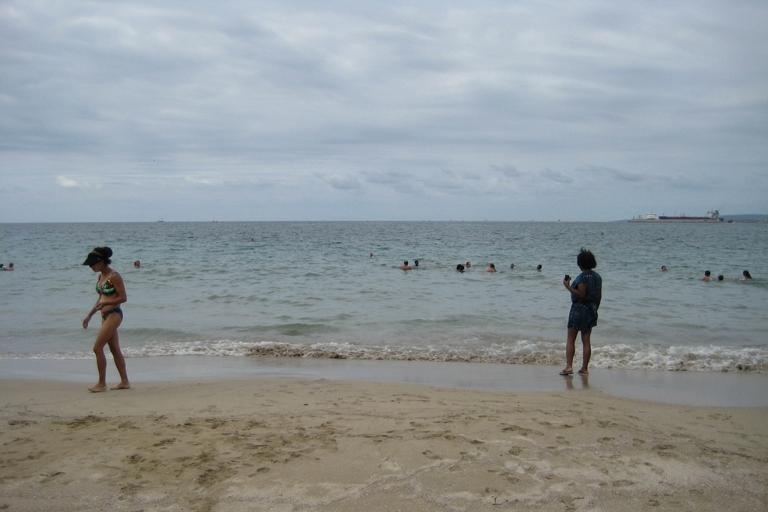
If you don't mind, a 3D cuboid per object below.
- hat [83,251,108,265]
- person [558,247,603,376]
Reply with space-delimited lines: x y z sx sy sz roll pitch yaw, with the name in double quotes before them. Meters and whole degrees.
"hat" -5.054 0.059 11.258 0.370 0.238 0.358 -1 2 -20
"person" 3.959 1.123 12.966 0.745 2.481 1.545 1 3 15
